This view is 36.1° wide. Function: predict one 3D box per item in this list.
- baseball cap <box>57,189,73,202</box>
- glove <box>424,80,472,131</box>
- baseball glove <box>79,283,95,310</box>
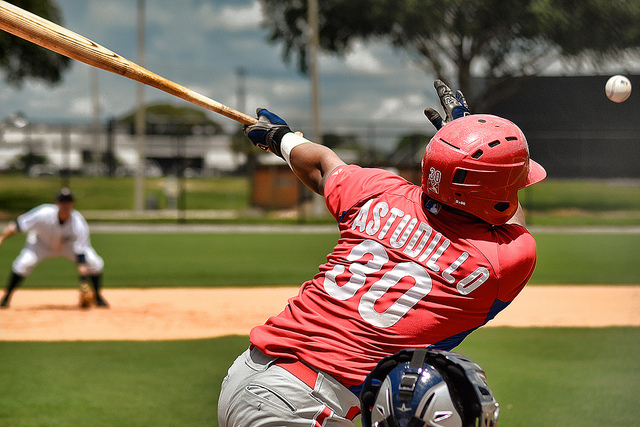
[{"bbox_3d":[-4.542,-0.347,17.558,0.260,0.195,0.126,-2,13,-15],"label":"baseball cap"},{"bbox_3d":[1.781,-1.527,13.626,0.603,0.632,0.794,3,13,7],"label":"glove"},{"bbox_3d":[-3.752,1.332,15.838,0.179,0.244,0.512,-3,50,-6],"label":"baseball glove"}]
